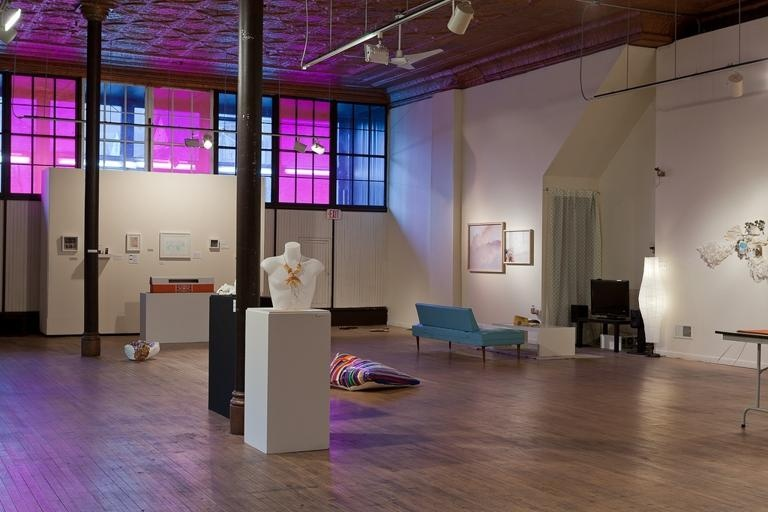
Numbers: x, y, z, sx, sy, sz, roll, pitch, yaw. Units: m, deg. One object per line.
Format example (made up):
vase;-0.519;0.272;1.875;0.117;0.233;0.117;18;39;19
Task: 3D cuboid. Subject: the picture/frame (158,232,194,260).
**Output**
picture/frame;-5.462;-0.268;14.820;0.737;0.661;0.080;0;-4;-19

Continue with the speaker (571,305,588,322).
speaker;4.636;1.374;13.592;0.406;0.385;0.226;1;-2;-25

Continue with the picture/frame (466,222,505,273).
picture/frame;2.642;-0.214;14.848;0.115;1.282;1.400;1;-3;-32

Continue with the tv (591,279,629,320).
tv;5.209;0.986;13.113;0.883;0.891;0.290;1;1;9

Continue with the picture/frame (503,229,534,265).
picture/frame;3.303;-0.238;13.936;0.231;1.005;0.884;1;0;-32

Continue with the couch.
couch;1.867;1.561;11.738;1.381;1.084;2.172;2;-1;-36
